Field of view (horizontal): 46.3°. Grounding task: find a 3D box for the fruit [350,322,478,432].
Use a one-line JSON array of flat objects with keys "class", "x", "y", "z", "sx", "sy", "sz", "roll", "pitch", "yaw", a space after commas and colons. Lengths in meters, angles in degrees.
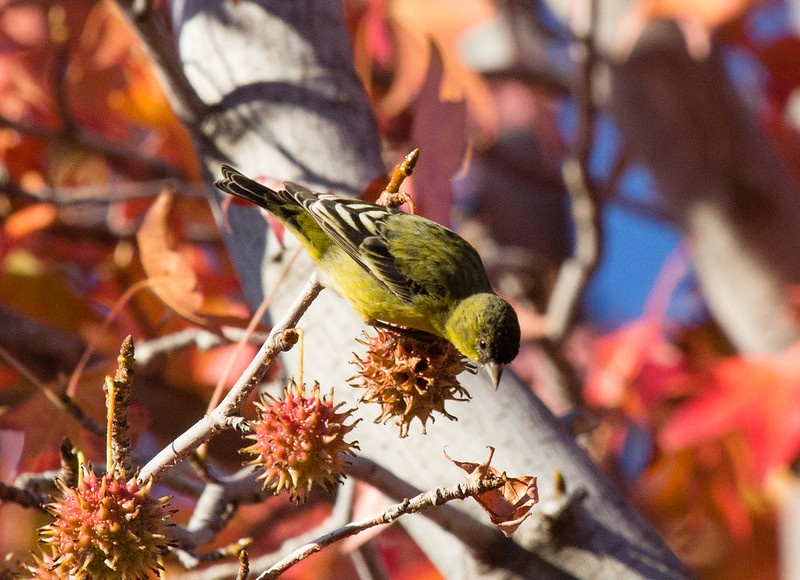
[{"class": "fruit", "x": 0.043, "y": 0.365, "z": 4.261, "sx": 0.477, "sy": 0.487, "sz": 0.465, "roll": 30, "pitch": 14, "yaw": 28}]
